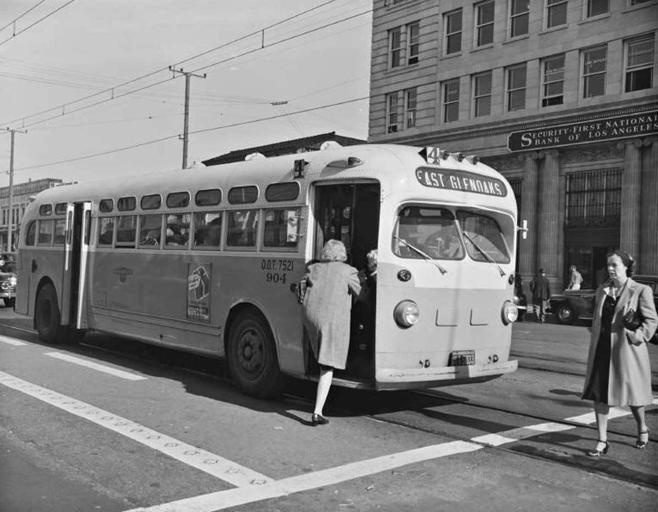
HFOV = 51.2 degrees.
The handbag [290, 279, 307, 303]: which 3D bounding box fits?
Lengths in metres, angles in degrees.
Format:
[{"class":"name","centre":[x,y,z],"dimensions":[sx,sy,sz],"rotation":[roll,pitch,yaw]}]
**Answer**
[{"class":"handbag","centre":[-0.370,0.433,8.747],"dimensions":[0.266,0.324,0.207],"rotation":[0,2,42]}]

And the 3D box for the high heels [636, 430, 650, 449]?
[{"class":"high heels","centre":[3.551,2.074,7.790],"dimensions":[0.084,0.143,0.291],"rotation":[2,3,29]}]

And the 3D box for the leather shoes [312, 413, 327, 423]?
[{"class":"leather shoes","centre":[-0.105,1.978,8.319],"dimensions":[0.083,0.096,0.204],"rotation":[2,0,43]}]

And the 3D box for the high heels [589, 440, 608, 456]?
[{"class":"high heels","centre":[2.953,2.116,7.508],"dimensions":[0.304,0.143,0.104],"rotation":[13,-27,-41]}]

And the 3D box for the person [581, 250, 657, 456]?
[{"class":"person","centre":[3.189,1.065,7.545],"dimensions":[0.729,2.220,0.530],"rotation":[2,2,16]}]

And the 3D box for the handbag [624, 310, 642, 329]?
[{"class":"handbag","centre":[3.243,0.681,7.363],"dimensions":[0.070,0.194,0.155],"rotation":[-10,-50,46]}]

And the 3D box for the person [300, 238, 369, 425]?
[{"class":"person","centre":[0.020,0.925,8.517],"dimensions":[0.787,2.243,0.598],"rotation":[2,2,-2]}]

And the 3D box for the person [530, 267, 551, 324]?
[{"class":"person","centre":[7.393,1.392,24.109],"dimensions":[0.585,1.803,0.705],"rotation":[2,2,13]}]
